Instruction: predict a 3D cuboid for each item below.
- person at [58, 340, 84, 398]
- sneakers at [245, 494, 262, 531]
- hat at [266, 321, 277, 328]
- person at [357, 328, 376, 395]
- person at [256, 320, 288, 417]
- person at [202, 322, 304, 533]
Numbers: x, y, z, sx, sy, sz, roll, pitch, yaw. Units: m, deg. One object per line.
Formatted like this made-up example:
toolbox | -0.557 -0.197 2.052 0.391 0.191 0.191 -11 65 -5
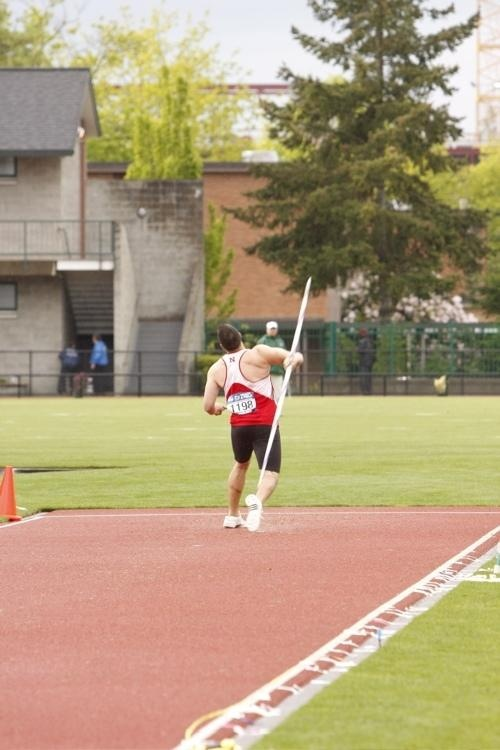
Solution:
person | -4.011 -0.111 37.010 0.494 1.046 2.070 0 2 -6
sneakers | 0.013 0.867 10.641 0.091 0.282 0.109 -9 -13 32
hat | 0.299 -0.727 22.596 0.177 0.121 0.327 0 0 1
person | 2.693 -0.372 38.516 0.385 1.557 1.236 0 2 4
person | 0.298 -0.167 23.257 0.351 1.214 0.331 7 16 9
person | -0.025 0.349 11.010 0.565 1.394 0.872 -1 2 -30
